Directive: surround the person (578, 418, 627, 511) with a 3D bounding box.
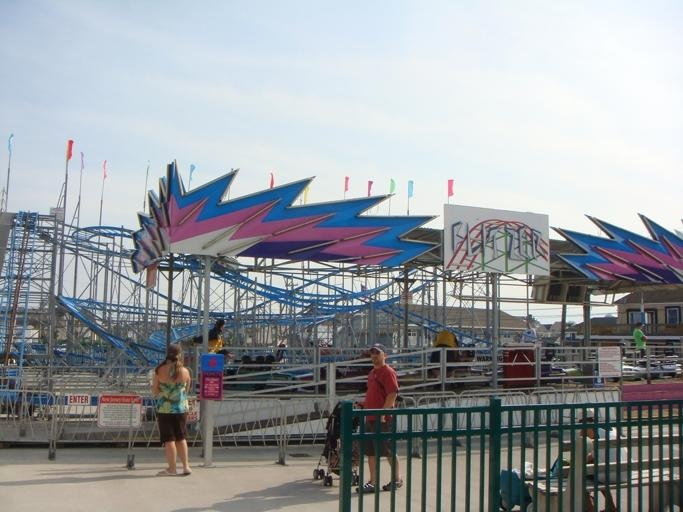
[{"bbox_3d":[3.872,3.095,14.826,0.499,1.502,1.795,-1,-8,15],"label":"person"}]

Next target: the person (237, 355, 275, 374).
[{"bbox_3d":[-1.921,2.489,22.872,0.787,0.289,0.566,-3,-6,17],"label":"person"}]

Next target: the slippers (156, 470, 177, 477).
[{"bbox_3d":[-2.916,3.605,16.371,0.240,0.074,0.131,-3,-11,44],"label":"slippers"}]

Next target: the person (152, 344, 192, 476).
[{"bbox_3d":[-2.810,2.579,16.490,0.642,2.173,0.667,1,-8,2],"label":"person"}]

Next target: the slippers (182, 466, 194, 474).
[{"bbox_3d":[-2.538,3.591,16.397,0.078,0.159,0.234,4,-24,-22],"label":"slippers"}]
